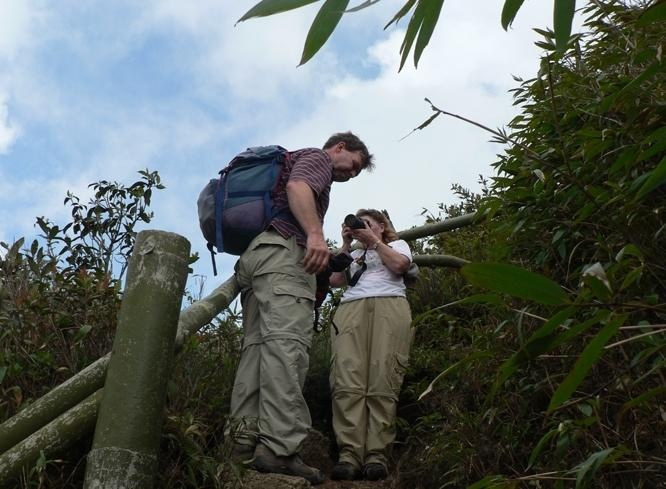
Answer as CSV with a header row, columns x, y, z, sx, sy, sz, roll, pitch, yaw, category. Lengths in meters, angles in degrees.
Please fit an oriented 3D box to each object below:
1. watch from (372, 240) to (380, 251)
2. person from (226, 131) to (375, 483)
x,y,z,sx,sy,sz,roll,pitch,yaw,category
0.342,0.013,4.165,0.026,0.062,0.052,-1,12,-27,watch
-0.195,0.145,3.442,0.846,2.487,0.712,5,-33,-11,person
